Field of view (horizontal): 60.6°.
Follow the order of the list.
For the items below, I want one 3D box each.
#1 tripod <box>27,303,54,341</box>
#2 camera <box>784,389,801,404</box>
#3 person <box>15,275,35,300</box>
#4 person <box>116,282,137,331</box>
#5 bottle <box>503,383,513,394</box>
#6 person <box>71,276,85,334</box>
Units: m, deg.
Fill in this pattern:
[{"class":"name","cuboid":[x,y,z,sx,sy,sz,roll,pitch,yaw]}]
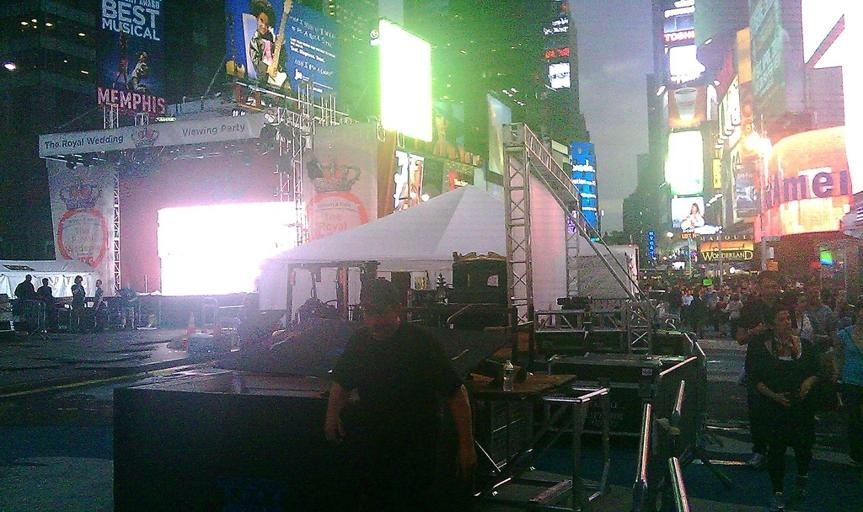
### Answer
[{"class":"tripod","cuboid":[-20.286,3.218,38.390,0.676,1.754,1.399,-2,-3,17]},{"class":"camera","cuboid":[10.380,4.043,21.252,0.376,0.221,0.371,-6,1,7]},{"class":"person","cuboid":[-21.122,1.657,38.546,0.889,1.238,0.772,0,-3,-27]},{"class":"person","cuboid":[-17.173,2.988,41.964,0.986,2.288,1.125,-1,-3,-22]},{"class":"bottle","cuboid":[2.073,3.539,20.019,0.296,0.229,0.226,-2,-3,5]},{"class":"person","cuboid":[-18.963,2.548,39.835,0.712,2.871,1.127,0,-3,-26]}]
